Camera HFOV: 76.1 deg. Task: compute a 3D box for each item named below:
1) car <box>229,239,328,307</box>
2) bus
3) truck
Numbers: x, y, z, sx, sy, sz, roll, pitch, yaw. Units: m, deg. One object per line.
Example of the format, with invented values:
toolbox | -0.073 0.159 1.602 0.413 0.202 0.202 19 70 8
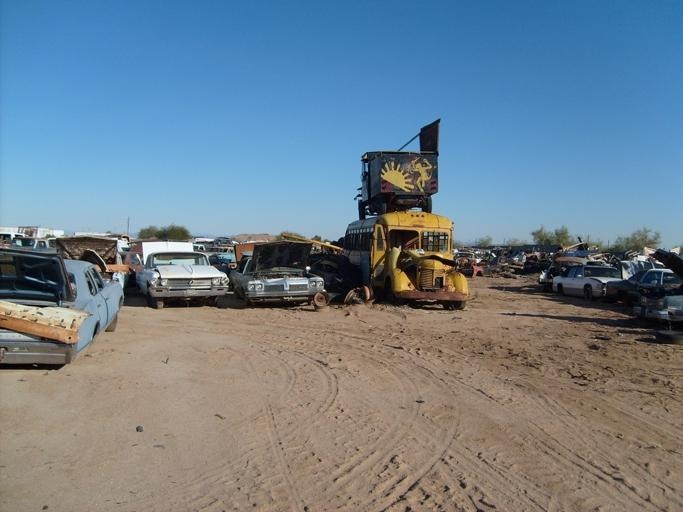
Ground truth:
car | -2.514 0.434 15.553 2.517 1.744 4.114 -2 7 -21
bus | 2.358 -0.209 19.424 3.751 3.023 9.074 0 6 -8
truck | 3.288 -4.747 26.180 3.935 4.912 5.692 -5 9 -7
